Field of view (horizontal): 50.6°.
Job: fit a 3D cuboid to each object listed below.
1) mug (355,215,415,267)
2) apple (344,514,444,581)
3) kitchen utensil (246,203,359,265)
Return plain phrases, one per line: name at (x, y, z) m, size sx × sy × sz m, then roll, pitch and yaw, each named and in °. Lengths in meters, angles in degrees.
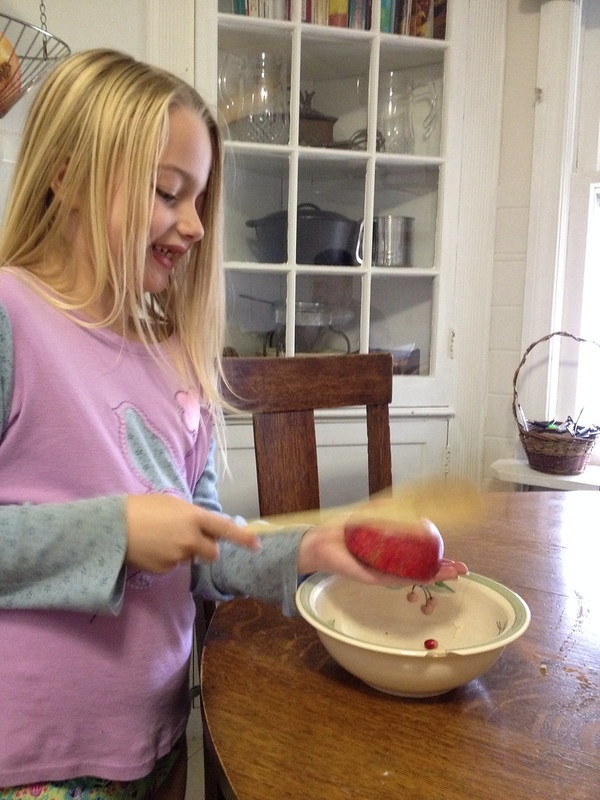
mug at (0.266, -0.454, 1.925) m, size 0.153 × 0.161 × 0.152 m, roll -1°, pitch -6°, yaw 43°
apple at (0.084, 0.127, 0.557) m, size 0.087 × 0.049 × 0.077 m, roll 5°, pitch 3°, yaw 30°
kitchen utensil at (0.023, -0.436, 1.796) m, size 0.222 × 0.110 × 0.185 m, roll -3°, pitch 2°, yaw 2°
